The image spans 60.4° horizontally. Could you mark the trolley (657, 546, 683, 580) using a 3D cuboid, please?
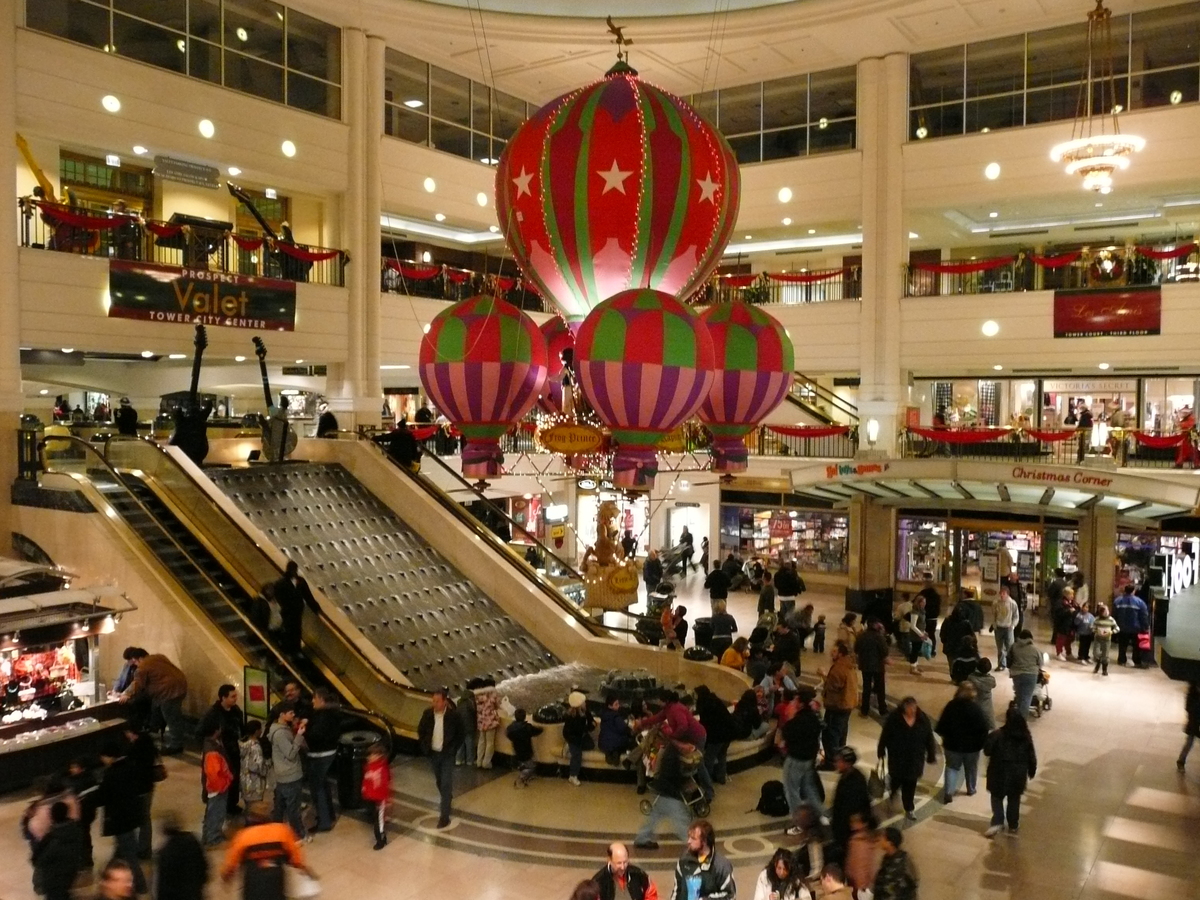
[{"bbox_3d":[1.850,3.038,27.596,0.714,0.886,0.644,-2,3,-44],"label":"trolley"}]

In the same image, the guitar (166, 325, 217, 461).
[{"bbox_3d":[-7.786,-1.082,19.650,0.266,2.545,0.878,-3,-11,26],"label":"guitar"}]

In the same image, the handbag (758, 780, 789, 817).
[{"bbox_3d":[2.224,4.514,13.320,0.356,0.390,0.425,2,-12,2],"label":"handbag"}]
